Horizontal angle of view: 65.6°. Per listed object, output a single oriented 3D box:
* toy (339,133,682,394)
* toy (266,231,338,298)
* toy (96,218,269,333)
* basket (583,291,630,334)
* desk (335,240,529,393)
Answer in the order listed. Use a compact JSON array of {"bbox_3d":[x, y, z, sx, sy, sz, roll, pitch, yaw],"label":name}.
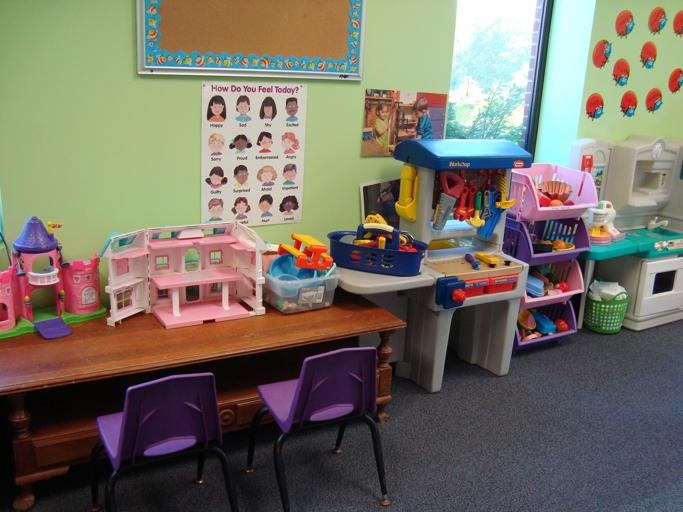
[{"bbox_3d":[1.046,0.076,3.365,1.439,1.229,0.608,-11,23,-29],"label":"toy"},{"bbox_3d":[-0.207,0.030,2.757,0.320,0.163,0.262,-10,24,-29],"label":"toy"},{"bbox_3d":[-0.754,0.080,2.555,0.718,0.433,0.357,-5,15,-30],"label":"toy"},{"bbox_3d":[1.944,0.419,4.009,0.311,0.337,0.258,4,16,12],"label":"basket"},{"bbox_3d":[0.537,0.384,3.283,1.104,0.781,0.586,-7,19,-25],"label":"desk"}]
